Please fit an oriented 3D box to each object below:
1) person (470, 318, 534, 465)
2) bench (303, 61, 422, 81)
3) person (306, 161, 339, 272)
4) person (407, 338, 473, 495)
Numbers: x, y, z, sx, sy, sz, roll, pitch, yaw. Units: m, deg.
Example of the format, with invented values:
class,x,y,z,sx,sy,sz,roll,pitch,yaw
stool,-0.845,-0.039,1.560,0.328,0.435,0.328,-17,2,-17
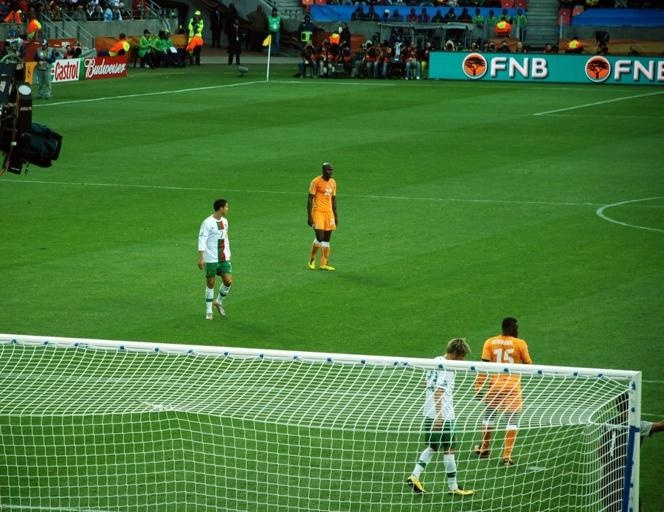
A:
class,x,y,z,sx,sy,sz,roll,pitch,yaw
person,2.088,1.634,13.263,0.689,1.639,1.437,-1,11,9
bench,1.821,-9.150,53.760,5.246,1.010,2.170,3,12,26
person,-0.232,-0.752,20.580,0.580,2.050,0.939,-3,11,-2
person,1.218,1.841,12.606,0.816,1.784,0.918,-9,13,-30
